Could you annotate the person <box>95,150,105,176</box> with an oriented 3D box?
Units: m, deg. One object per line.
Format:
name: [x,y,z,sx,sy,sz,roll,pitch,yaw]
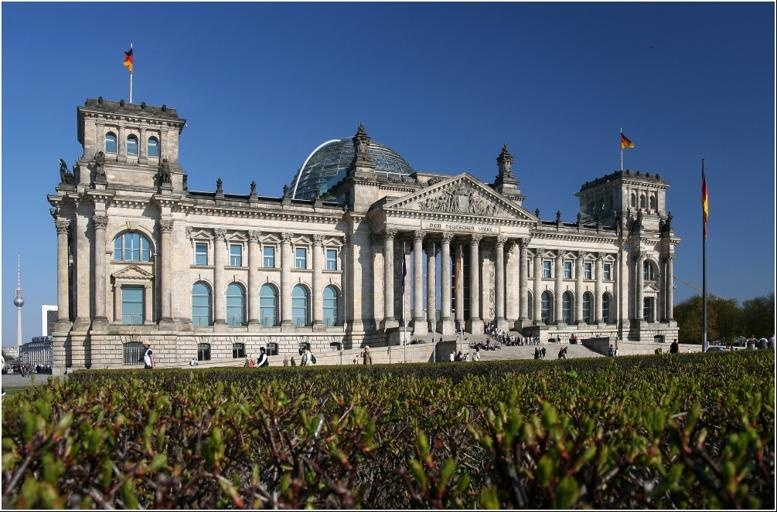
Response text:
person: [-20.629,-6.448,79.012,0.605,1.921,0.871,0,-6,-9]

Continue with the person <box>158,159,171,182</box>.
person: [-16.238,-6.090,80.492,0.739,1.681,0.842,1,-6,-18]
